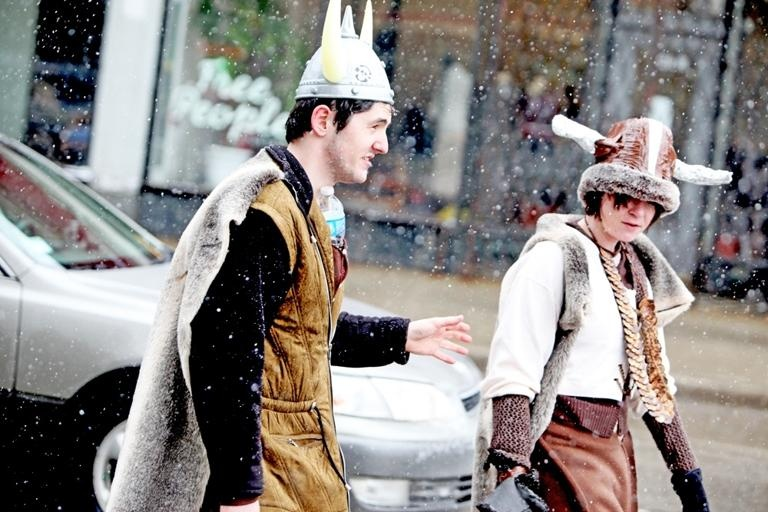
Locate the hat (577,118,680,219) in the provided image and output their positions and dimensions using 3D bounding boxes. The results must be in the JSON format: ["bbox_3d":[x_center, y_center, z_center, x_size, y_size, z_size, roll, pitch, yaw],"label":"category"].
[{"bbox_3d":[2.748,-0.956,17.124,0.879,1.019,0.982,-3,-29,38],"label":"hat"}]
